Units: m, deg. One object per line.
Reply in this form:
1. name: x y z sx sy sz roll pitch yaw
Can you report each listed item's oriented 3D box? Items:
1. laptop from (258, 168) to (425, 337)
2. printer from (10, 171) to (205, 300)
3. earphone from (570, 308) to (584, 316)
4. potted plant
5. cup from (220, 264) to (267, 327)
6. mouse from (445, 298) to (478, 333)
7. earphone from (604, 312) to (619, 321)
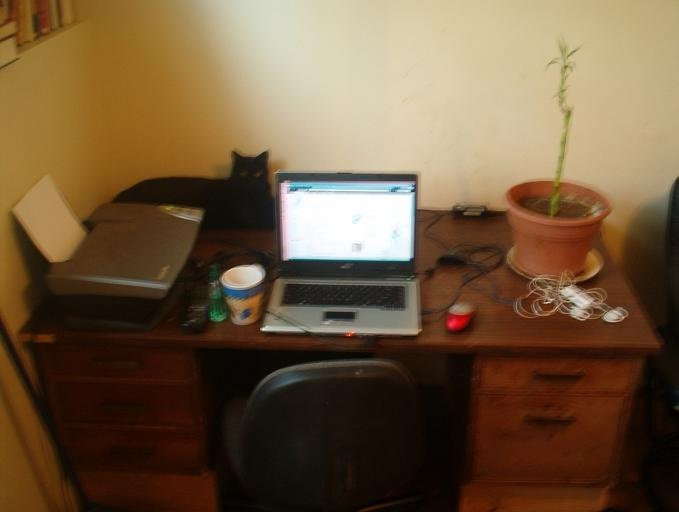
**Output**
1. laptop: 0.018 -0.008 1.629 0.477 0.365 0.422 3 24 7
2. printer: -0.682 -0.083 1.725 0.483 0.221 0.472 11 34 4
3. earphone: 0.695 0.165 1.627 0.022 0.007 0.030 8 24 15
4. potted plant: 0.678 -0.245 1.718 0.282 0.582 0.263 2 15 15
5. cup: -0.260 0.106 1.677 0.139 0.147 0.167 1 32 -1
6. mouse: 0.338 0.174 1.584 0.060 0.031 0.097 18 51 33
7. earphone: 0.782 0.173 1.604 0.028 0.007 0.029 9 45 32
